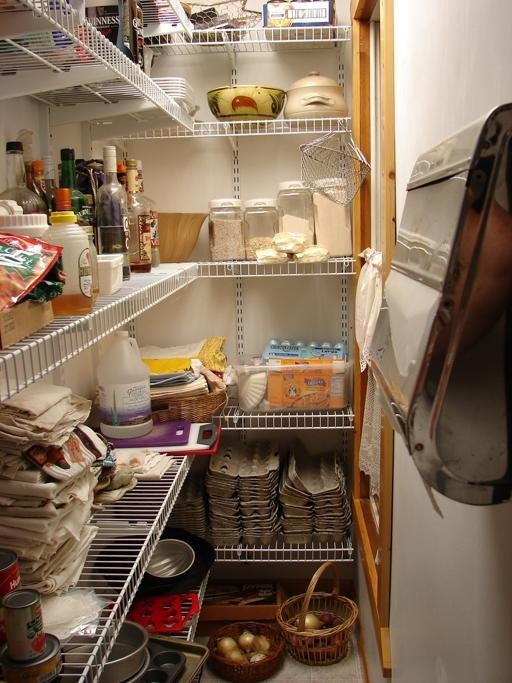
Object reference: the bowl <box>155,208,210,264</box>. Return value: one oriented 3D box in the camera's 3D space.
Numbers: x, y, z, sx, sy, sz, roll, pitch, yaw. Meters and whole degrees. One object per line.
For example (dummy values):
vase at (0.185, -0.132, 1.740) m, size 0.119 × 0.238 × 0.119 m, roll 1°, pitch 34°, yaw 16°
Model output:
bowl at (-0.285, -0.415, 1.985) m, size 0.174 × 0.145 × 0.185 m, roll 1°, pitch 10°, yaw 0°

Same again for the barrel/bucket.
barrel/bucket at (-0.424, 0.142, 1.652) m, size 0.200 × 0.342 × 0.157 m, roll -15°, pitch 22°, yaw -28°

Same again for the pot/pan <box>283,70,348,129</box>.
pot/pan at (0.212, -0.885, 1.842) m, size 0.176 × 0.140 × 0.192 m, roll -1°, pitch 23°, yaw -1°

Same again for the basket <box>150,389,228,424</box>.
basket at (-0.230, 0.213, 1.881) m, size 0.138 × 0.076 × 0.187 m, roll -3°, pitch -1°, yaw 38°

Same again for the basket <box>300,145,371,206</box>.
basket at (0.264, -0.588, 1.781) m, size 0.150 × 0.203 × 0.399 m, roll -13°, pitch 23°, yaw -24°
